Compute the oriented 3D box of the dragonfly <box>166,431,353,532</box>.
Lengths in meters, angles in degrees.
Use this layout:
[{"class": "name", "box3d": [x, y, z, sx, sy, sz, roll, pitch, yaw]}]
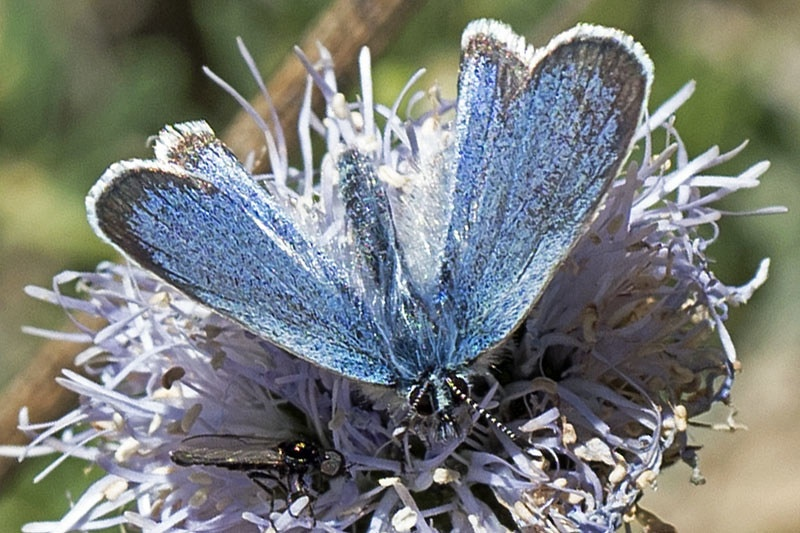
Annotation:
[{"class": "dragonfly", "box3d": [-0.498, 0.684, 4.388, 0.491, 0.356, 0.160, 23, 70, 0]}]
